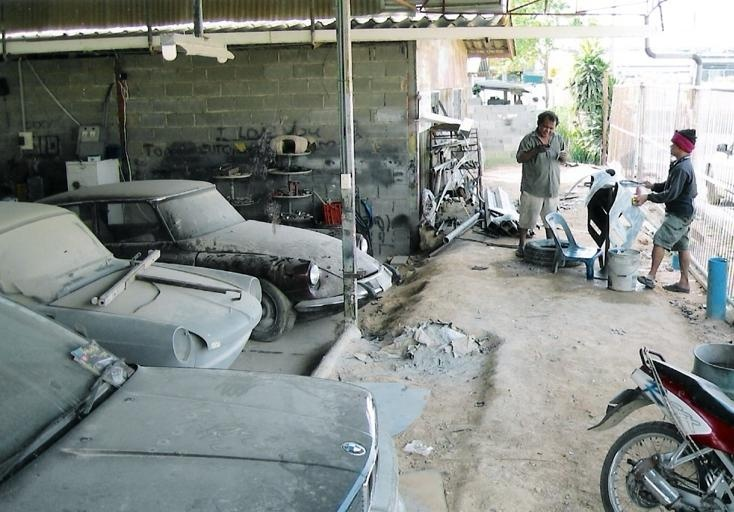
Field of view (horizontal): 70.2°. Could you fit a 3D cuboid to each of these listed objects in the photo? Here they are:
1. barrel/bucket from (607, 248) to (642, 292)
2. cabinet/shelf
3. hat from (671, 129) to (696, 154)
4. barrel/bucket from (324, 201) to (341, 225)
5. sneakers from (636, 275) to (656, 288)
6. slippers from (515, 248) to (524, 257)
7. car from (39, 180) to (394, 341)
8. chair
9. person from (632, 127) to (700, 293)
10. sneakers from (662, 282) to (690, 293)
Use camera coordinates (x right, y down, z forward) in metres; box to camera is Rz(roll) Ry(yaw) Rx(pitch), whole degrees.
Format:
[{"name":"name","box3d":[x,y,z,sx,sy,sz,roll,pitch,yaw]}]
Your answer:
[{"name":"barrel/bucket","box3d":[3.656,0.183,7.654,0.562,0.587,0.538,-2,7,0]},{"name":"cabinet/shelf","box3d":[-1.911,-1.388,10.136,2.390,0.782,2.199,2,28,1]},{"name":"hat","box3d":[4.308,-1.578,7.144,0.276,0.312,0.223,2,16,18]},{"name":"barrel/bucket","box3d":[-0.705,-0.874,10.474,0.328,0.237,0.509,1,15,1]},{"name":"sneakers","box3d":[4.076,0.363,7.674,0.259,0.101,0.150,24,3,43]},{"name":"slippers","box3d":[2.700,-0.076,9.312,0.152,0.134,0.250,-4,-11,18]},{"name":"car","box3d":[-1.846,-0.259,7.163,4.507,1.447,2.131,7,14,10]},{"name":"chair","box3d":[3.294,-0.224,8.309,0.812,0.956,0.941,7,18,33]},{"name":"person","box3d":[4.215,-0.606,7.339,0.736,2.280,0.358,-2,16,6]},{"name":"sneakers","box3d":[4.458,0.436,7.563,0.269,0.100,0.150,6,5,25]}]
